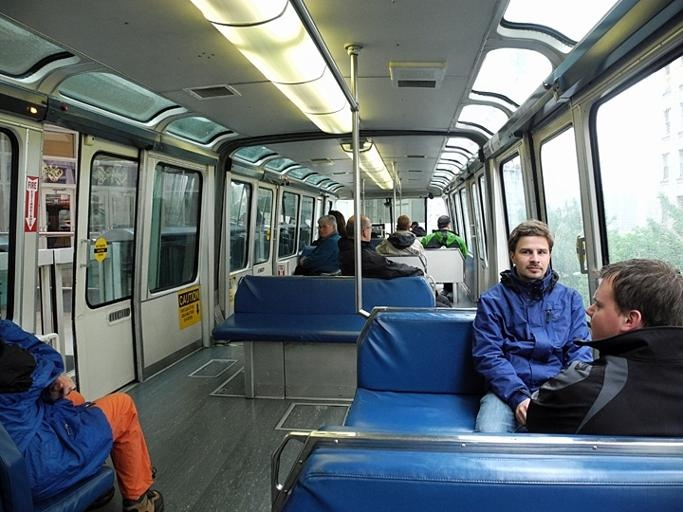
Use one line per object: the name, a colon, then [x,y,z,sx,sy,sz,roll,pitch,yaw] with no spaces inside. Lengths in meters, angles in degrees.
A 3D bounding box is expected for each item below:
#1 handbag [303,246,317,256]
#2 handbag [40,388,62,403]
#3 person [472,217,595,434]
handbag: [-0.656,-0.099,9.866,0.286,0.289,0.305,1,3,8]
handbag: [-1.890,0.905,2.999,0.061,0.077,0.102,-19,-10,26]
person: [1.271,0.657,3.142,0.786,1.740,0.970,0,2,28]
